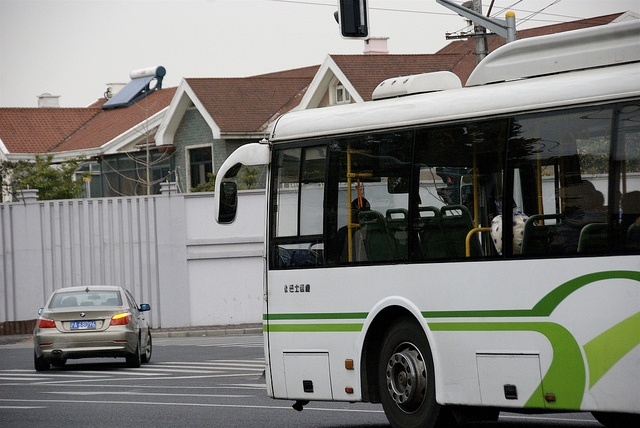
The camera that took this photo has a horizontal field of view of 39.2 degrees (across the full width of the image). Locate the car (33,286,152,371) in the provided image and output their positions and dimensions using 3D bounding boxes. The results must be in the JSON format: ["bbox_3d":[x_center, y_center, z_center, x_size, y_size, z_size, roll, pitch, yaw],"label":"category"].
[{"bbox_3d":[-4.984,2.539,20.808,1.405,1.071,2.827,-1,-1,5],"label":"car"}]

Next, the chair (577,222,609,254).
[{"bbox_3d":[3.173,0.201,10.413,0.318,0.423,0.448,0,22,6],"label":"chair"}]

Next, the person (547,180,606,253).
[{"bbox_3d":[3.010,0.029,10.384,0.702,0.756,0.215,-9,-15,41],"label":"person"}]

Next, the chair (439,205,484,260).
[{"bbox_3d":[1.809,0.343,11.481,0.520,0.891,0.530,-2,0,19],"label":"chair"}]
